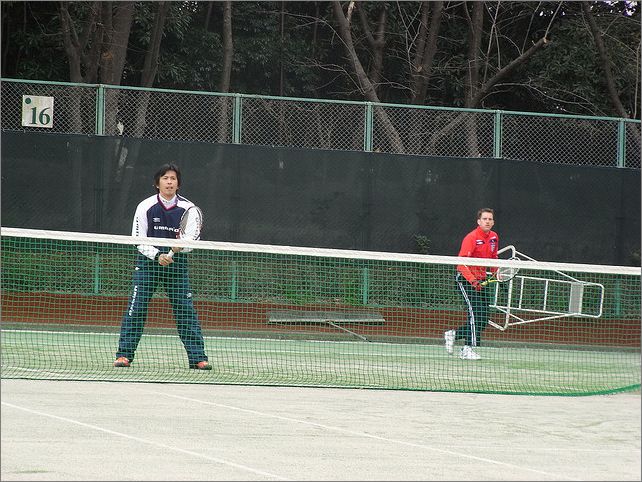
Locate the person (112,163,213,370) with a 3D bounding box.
[{"bbox_3d":[-2.134,0.328,15.075,1.199,2.637,0.639,0,7,-9],"label":"person"}]

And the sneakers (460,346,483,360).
[{"bbox_3d":[2.180,1.619,16.684,0.266,0.188,0.162,-1,0,-4],"label":"sneakers"}]

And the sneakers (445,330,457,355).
[{"bbox_3d":[1.925,1.482,17.009,0.123,0.389,0.172,-1,-5,11],"label":"sneakers"}]

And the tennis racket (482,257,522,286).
[{"bbox_3d":[2.919,0.511,18.372,0.541,0.249,0.533,-21,4,-28],"label":"tennis racket"}]

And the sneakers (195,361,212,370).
[{"bbox_3d":[-1.553,1.631,15.037,0.127,0.128,0.129,4,-3,-15],"label":"sneakers"}]

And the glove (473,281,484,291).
[{"bbox_3d":[2.281,0.656,16.668,0.139,0.138,0.039,3,16,5],"label":"glove"}]

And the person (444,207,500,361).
[{"bbox_3d":[2.241,0.626,16.899,0.695,2.196,1.568,3,7,8],"label":"person"}]
